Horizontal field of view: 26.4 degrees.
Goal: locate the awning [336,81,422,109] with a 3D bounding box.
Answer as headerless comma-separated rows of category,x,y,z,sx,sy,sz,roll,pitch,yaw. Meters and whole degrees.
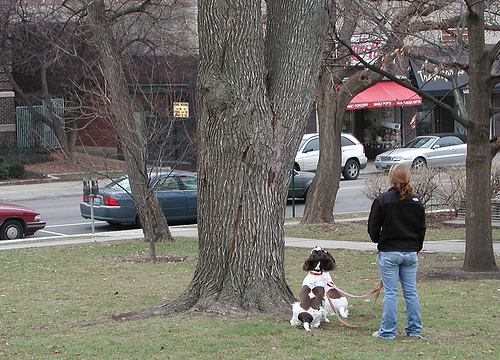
awning,6.308,-4.043,49.590,3.110,1.034,2.257,-2,12,16

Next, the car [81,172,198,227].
car,-2.576,0.574,34.210,5.750,1.722,2.320,-2,3,-39

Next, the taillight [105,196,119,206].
taillight,-4.199,0.610,32.060,0.325,0.214,0.239,8,-2,-19

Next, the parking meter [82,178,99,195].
parking meter,-4.693,0.171,31.256,0.526,0.432,0.730,3,-5,-2

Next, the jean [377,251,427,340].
jean,3.062,2.314,21.614,0.905,1.788,0.356,0,9,4

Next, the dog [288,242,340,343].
dog,1.231,2.255,22.022,0.869,1.669,0.801,-9,12,-42
